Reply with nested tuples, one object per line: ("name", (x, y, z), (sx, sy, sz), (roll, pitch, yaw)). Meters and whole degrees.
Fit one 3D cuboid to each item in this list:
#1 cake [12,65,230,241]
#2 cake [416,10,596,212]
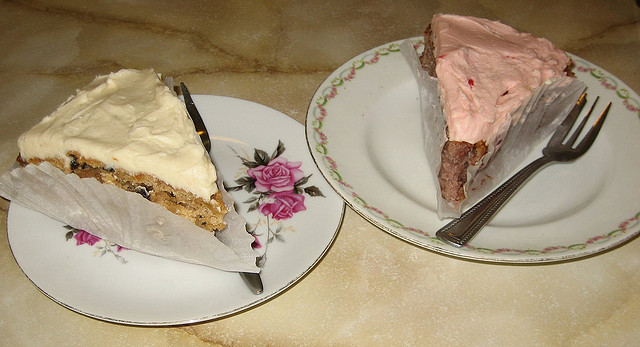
("cake", (-0.699, -0.094, 2.085), (0.859, 0.259, 0.668), (37, 51, 28))
("cake", (0.666, -0.291, 2.138), (0.719, 0.277, 0.805), (20, 62, 14))
